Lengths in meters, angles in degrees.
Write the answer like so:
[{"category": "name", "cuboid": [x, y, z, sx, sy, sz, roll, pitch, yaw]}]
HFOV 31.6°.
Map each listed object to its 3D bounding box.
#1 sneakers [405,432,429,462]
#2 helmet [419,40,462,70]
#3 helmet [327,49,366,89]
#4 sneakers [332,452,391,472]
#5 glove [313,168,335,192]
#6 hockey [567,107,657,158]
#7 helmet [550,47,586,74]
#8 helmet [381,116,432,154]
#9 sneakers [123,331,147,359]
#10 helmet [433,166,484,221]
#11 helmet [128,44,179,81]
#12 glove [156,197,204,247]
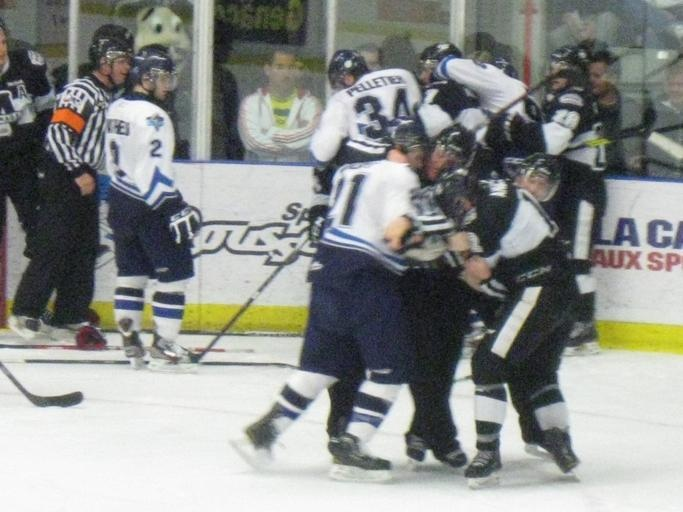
[{"category": "sneakers", "cuboid": [0.367, 0.909, 5.799, 0.109, 0.168, 0.157, 3, 10, 5]}, {"category": "helmet", "cuboid": [0.593, -1.177, 7.165, 0.272, 0.195, 0.182, 8, 8, 4]}, {"category": "helmet", "cuboid": [0.056, -1.047, 6.853, 0.190, 0.228, 0.336, -3, 10, -28]}, {"category": "sneakers", "cuboid": [0.100, 0.927, 5.470, 0.250, 0.084, 0.061, 1, 10, -3]}, {"category": "glove", "cuboid": [-0.082, -0.448, 7.039, 0.152, 0.120, 0.045, 4, 7, 40]}, {"category": "hockey", "cuboid": [1.871, -0.817, 8.158, 0.645, 0.198, 0.327, -15, 9, 0]}, {"category": "helmet", "cuboid": [1.429, -1.221, 7.511, 0.235, 0.111, 0.161, 1, 8, 2]}, {"category": "helmet", "cuboid": [0.295, -0.562, 5.619, 0.158, 0.156, 0.227, -1, 10, -20]}, {"category": "sneakers", "cuboid": [-1.233, 0.520, 7.177, 0.130, 0.173, 0.136, 1, 10, -8]}, {"category": "helmet", "cuboid": [0.554, -0.270, 5.608, 0.235, 0.168, 0.269, 1, -6, 7]}, {"category": "helmet", "cuboid": [-1.137, -1.154, 7.237, 0.297, 0.209, 0.198, -11, 7, -8]}, {"category": "glove", "cuboid": [-0.939, -0.198, 7.222, 0.246, 0.275, 0.107, 23, 50, 15]}]
